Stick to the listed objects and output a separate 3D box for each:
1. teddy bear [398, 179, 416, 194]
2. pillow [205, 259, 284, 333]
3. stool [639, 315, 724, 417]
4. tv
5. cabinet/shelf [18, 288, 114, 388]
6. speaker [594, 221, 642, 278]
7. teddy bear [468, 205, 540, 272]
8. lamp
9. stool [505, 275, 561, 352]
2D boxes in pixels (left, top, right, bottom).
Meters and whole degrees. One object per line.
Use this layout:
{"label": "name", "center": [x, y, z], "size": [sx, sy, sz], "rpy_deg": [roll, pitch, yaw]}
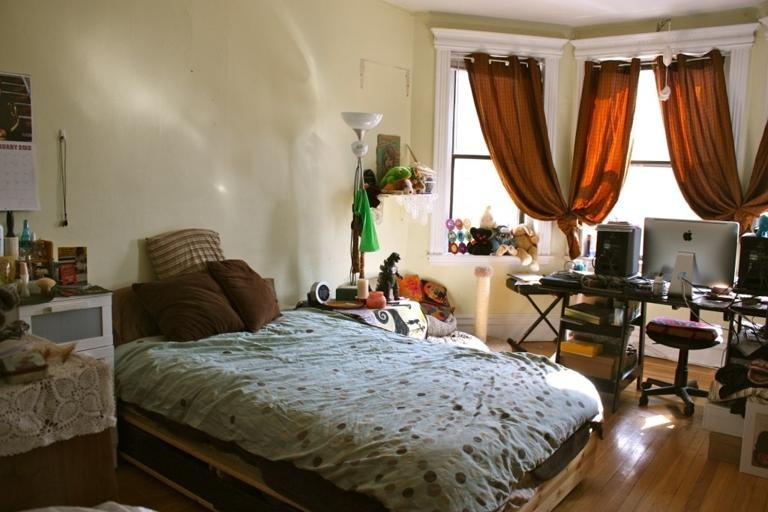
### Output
{"label": "teddy bear", "center": [0.218, -0.667, 5.400], "size": [0.107, 0.146, 0.065], "rpy_deg": [4, -2, 7]}
{"label": "pillow", "center": [-1.211, 0.356, 4.295], "size": [0.159, 0.553, 0.589], "rpy_deg": [-28, -9, 24]}
{"label": "stool", "center": [2.533, 0.876, 4.959], "size": [0.792, 0.752, 0.712], "rpy_deg": [-12, 17, -41]}
{"label": "tv", "center": [2.456, 0.010, 4.577], "size": [0.703, 0.604, 0.284], "rpy_deg": [7, 8, 37]}
{"label": "cabinet/shelf", "center": [-2.090, 0.461, 3.826], "size": [0.694, 0.699, 0.476], "rpy_deg": [-2, 2, -42]}
{"label": "speaker", "center": [2.086, -0.053, 4.980], "size": [0.356, 0.453, 0.402], "rpy_deg": [6, 8, 27]}
{"label": "teddy bear", "center": [1.301, -0.195, 6.113], "size": [0.620, 0.377, 0.748], "rpy_deg": [-13, 17, -17]}
{"label": "lamp", "center": [-0.232, -0.467, 5.316], "size": [0.422, 1.698, 0.757], "rpy_deg": [-1, 7, -1]}
{"label": "stool", "center": [1.678, 0.602, 5.928], "size": [0.565, 0.636, 0.668], "rpy_deg": [1, -4, 11]}
